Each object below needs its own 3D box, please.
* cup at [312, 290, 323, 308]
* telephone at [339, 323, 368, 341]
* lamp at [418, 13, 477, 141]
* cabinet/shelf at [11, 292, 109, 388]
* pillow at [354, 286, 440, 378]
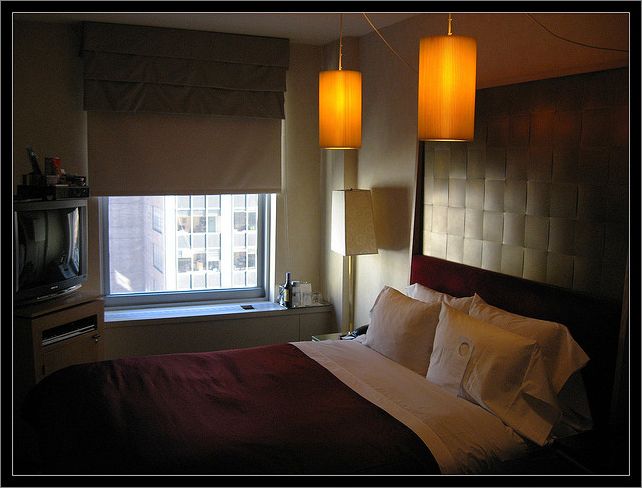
[{"bbox_3d":[-0.033,0.491,4.263,0.122,0.132,0.071,-2,5,-14],"label":"cup"},{"bbox_3d":[0.233,0.633,3.401,0.168,0.061,0.123,-10,-12,-7],"label":"telephone"},{"bbox_3d":[0.573,-0.704,2.191,0.254,0.454,0.120,-1,4,12],"label":"lamp"},{"bbox_3d":[-1.768,0.642,3.217,0.306,0.537,0.551,8,11,22],"label":"cabinet/shelf"},{"bbox_3d":[0.457,0.515,2.794,0.130,0.254,0.376,11,9,-29],"label":"pillow"}]
